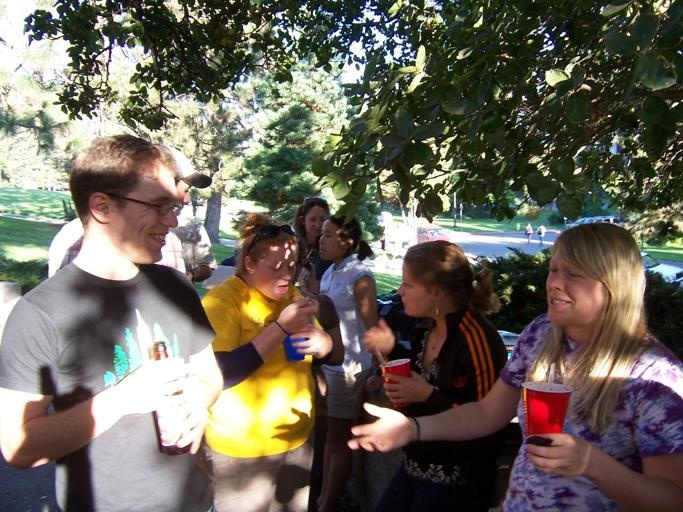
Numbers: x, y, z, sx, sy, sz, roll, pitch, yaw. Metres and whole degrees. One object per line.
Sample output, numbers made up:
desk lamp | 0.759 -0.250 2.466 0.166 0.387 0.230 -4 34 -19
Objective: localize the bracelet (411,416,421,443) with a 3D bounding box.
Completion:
bracelet | 0.374 0.837 2.091 0.025 0.088 0.095 -4 -1 -30

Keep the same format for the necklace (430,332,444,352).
necklace | 0.604 0.530 2.643 0.025 0.094 0.097 14 -12 -24

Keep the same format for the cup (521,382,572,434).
cup | 0.768 0.572 1.679 0.185 0.189 0.186 2 -7 0

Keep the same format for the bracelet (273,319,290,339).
bracelet | -0.338 0.410 2.492 0.099 0.071 0.087 38 -6 -12

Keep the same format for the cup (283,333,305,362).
cup | -0.261 0.547 2.597 0.150 0.148 0.147 -2 1 0

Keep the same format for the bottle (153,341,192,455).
bottle | -0.685 0.606 1.713 0.150 0.306 0.192 4 1 -15
